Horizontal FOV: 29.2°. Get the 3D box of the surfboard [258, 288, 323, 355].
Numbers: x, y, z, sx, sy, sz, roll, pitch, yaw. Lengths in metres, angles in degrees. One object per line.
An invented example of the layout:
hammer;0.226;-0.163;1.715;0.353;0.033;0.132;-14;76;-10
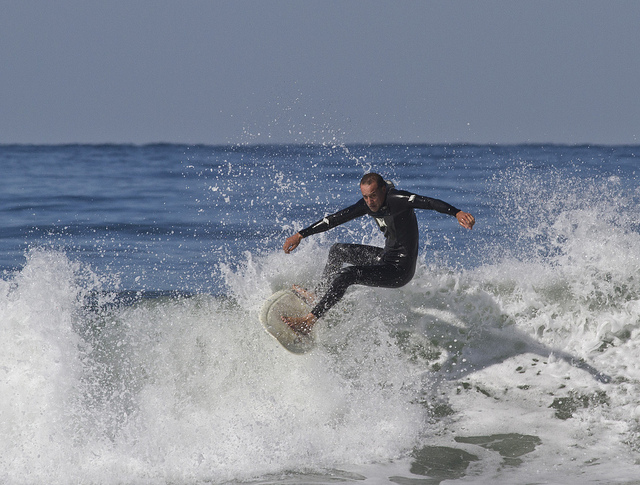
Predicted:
surfboard;-0.459;1.198;18.436;0.992;0.232;0.833;43;61;-16
